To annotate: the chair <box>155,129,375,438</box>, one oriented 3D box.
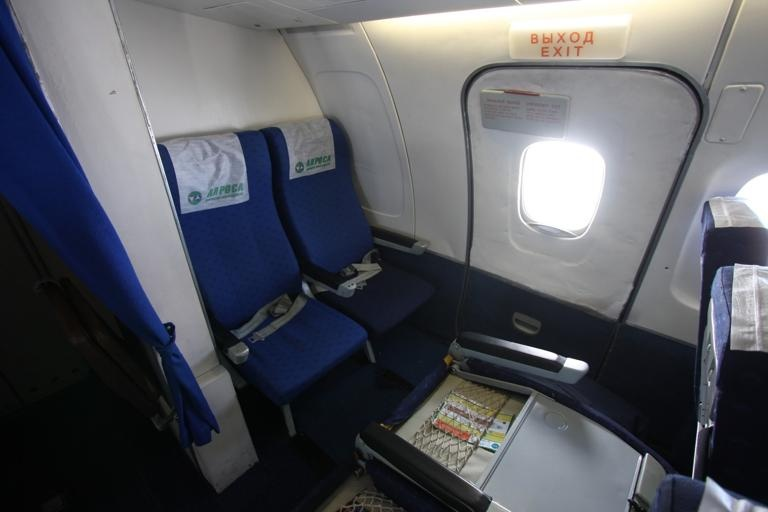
[{"bbox_3d":[-0.683,-0.009,2.967,0.786,1.291,0.865,-21,32,-25],"label":"chair"}]
